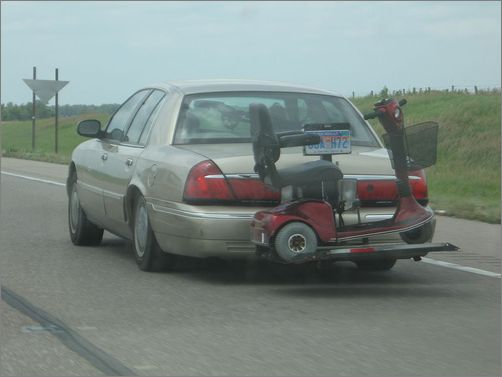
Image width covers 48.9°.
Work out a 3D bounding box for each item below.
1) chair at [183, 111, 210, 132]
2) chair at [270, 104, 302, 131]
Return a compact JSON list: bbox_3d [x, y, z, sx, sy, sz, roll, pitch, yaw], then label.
[{"bbox_3d":[-0.563,-0.662,5.550,0.179,0.107,0.241,6,13,-26],"label":"chair"},{"bbox_3d":[0.347,-0.752,5.800,0.226,0.175,0.371,-2,20,-13],"label":"chair"}]
